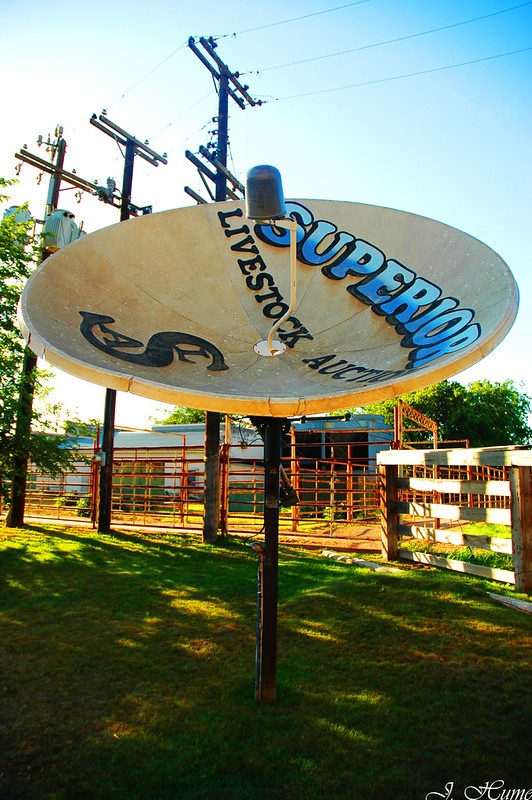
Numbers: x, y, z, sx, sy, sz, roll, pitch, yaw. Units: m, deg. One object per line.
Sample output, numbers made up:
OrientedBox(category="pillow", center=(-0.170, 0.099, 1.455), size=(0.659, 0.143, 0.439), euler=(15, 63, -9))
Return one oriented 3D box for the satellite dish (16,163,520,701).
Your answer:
OrientedBox(category="satellite dish", center=(0.060, 0.054, 4.943), size=(3.613, 4.072, 3.180), euler=(-1, -4, -2))
